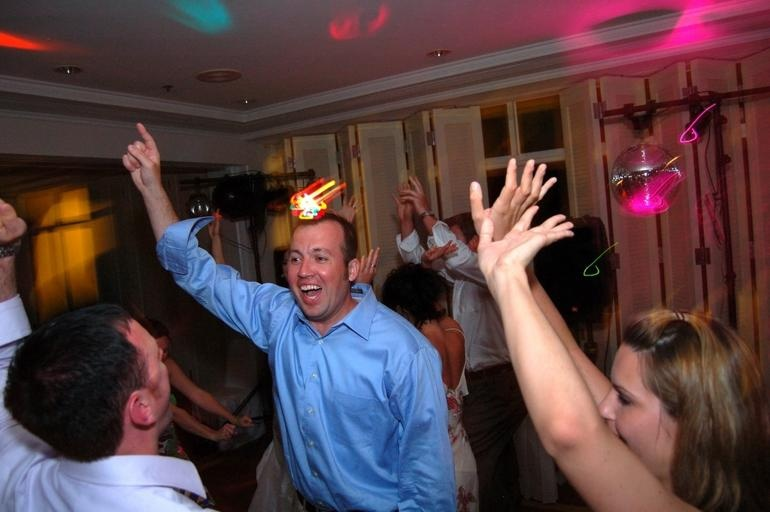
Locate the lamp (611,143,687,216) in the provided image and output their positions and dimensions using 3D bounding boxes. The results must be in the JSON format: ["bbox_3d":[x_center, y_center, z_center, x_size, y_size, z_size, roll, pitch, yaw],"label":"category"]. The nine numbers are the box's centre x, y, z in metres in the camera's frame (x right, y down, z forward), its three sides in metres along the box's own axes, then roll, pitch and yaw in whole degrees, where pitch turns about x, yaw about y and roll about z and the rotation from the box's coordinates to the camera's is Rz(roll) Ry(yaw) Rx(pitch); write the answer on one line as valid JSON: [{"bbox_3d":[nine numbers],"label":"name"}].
[{"bbox_3d":[1.616,-0.474,3.230,0.381,0.451,0.379,-5,0,-17],"label":"lamp"}]

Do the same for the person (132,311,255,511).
[{"bbox_3d":[-1.221,1.047,3.508,0.536,0.502,1.632,-15,-6,-8],"label":"person"}]

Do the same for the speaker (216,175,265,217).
[{"bbox_3d":[-1.476,-0.615,5.363,0.510,0.526,0.366,-5,16,-7],"label":"speaker"}]
